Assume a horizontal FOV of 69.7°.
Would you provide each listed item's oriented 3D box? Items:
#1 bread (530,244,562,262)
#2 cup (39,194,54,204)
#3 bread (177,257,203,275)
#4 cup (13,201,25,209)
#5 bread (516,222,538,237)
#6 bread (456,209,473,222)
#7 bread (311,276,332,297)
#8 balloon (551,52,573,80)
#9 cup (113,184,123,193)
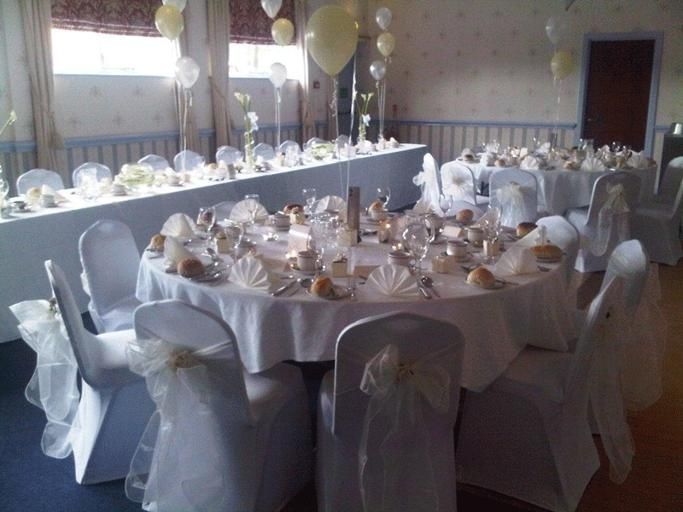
[{"bbox_3d":[1.031,-0.013,2.469,0.104,0.058,0.105,-12,21,-35],"label":"bread"},{"bbox_3d":[-2.068,-0.399,3.453,0.054,0.065,0.076,15,22,18],"label":"cup"},{"bbox_3d":[-0.700,0.053,2.281,0.101,0.067,0.095,-13,19,-36],"label":"bread"},{"bbox_3d":[-2.194,-0.348,3.344,0.052,0.042,0.057,3,16,-1],"label":"cup"},{"bbox_3d":[1.043,-0.168,2.829,0.083,0.059,0.091,-8,22,9],"label":"bread"},{"bbox_3d":[0.758,-0.245,3.037,0.060,0.073,0.087,1,-1,10],"label":"bread"},{"bbox_3d":[-0.092,0.124,2.088,0.091,0.068,0.105,-10,17,-29],"label":"bread"},{"bbox_3d":[2.825,-2.473,6.362,0.237,0.308,0.209,-6,16,-18],"label":"balloon"},{"bbox_3d":[-1.722,-0.519,3.798,0.058,0.049,0.063,-4,25,2],"label":"cup"}]
